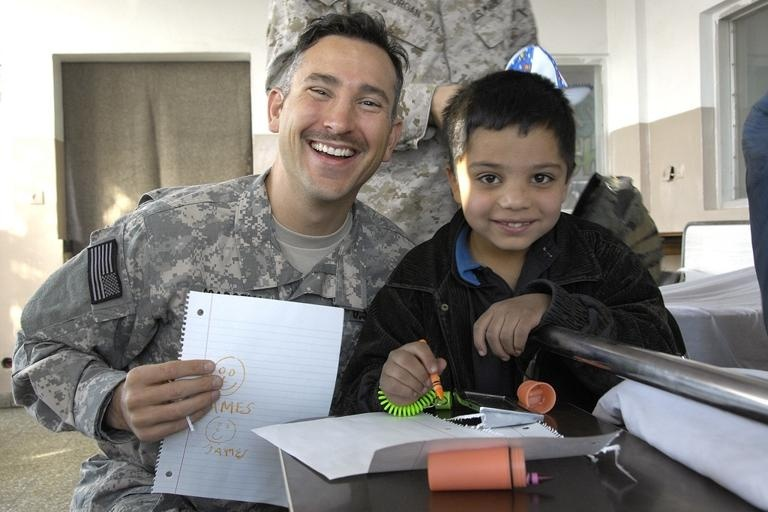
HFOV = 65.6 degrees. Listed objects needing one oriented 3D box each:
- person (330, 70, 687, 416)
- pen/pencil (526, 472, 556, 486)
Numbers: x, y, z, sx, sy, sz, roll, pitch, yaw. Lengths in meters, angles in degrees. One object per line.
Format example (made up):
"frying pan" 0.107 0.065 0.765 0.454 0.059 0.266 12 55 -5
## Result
"person" 0.285 0.107 1.475 0.819 1.012 0.543 -8 16 -8
"pen/pencil" 0.240 0.345 0.930 0.051 0.018 0.017 5 24 -8
